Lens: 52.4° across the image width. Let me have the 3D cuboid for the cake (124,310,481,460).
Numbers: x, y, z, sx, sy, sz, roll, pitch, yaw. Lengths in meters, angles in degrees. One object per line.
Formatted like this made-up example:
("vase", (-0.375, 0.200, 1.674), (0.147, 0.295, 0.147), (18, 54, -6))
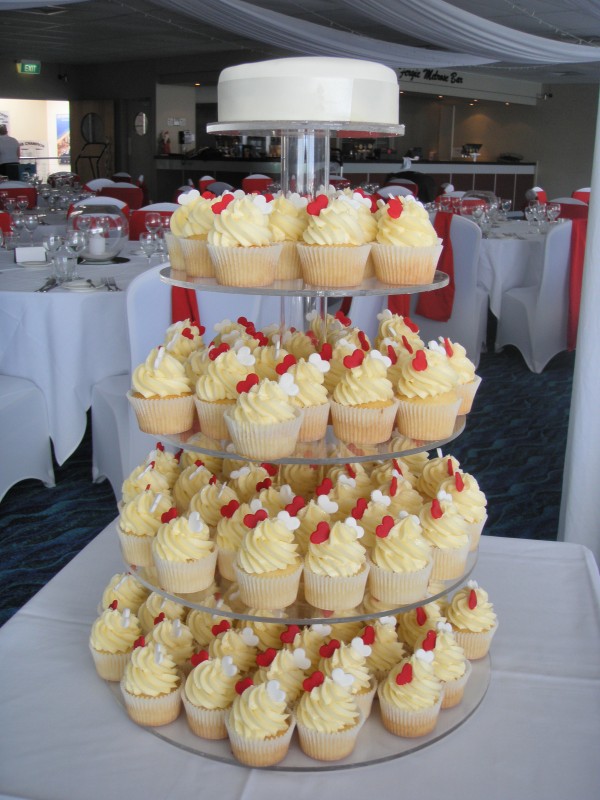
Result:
("cake", (-0.023, -0.050, 1.016), (0.544, 0.183, 0.451), (12, 18, 39))

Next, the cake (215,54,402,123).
("cake", (0.024, -0.442, 0.872), (0.276, 0.105, 0.166), (-1, 14, -7))

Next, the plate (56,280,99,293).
("plate", (-0.896, -0.460, 2.441), (0.154, 0.034, 0.249), (-5, 15, -21))

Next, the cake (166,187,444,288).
("cake", (0.017, -0.253, 0.922), (0.413, 0.155, 0.293), (-3, 14, -14))
